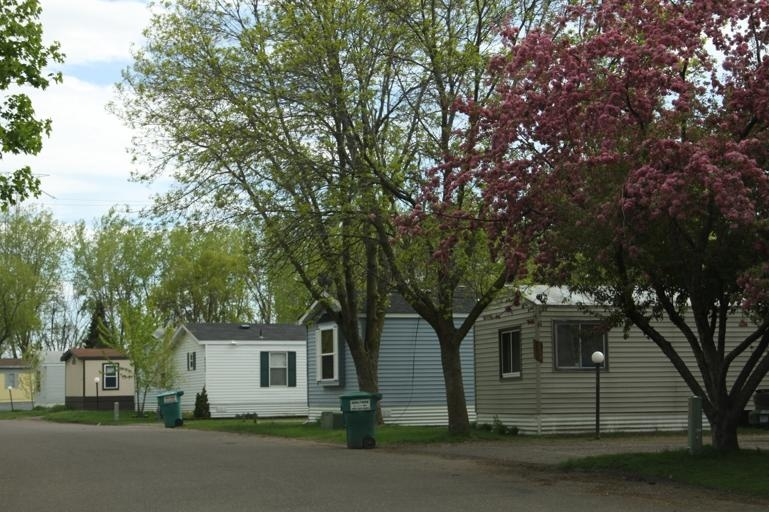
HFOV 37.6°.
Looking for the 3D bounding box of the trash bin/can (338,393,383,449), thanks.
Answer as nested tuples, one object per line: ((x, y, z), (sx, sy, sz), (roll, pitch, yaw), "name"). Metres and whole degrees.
((-0.720, 4.810, 33.145), (1.329, 1.944, 1.415), (1, -5, -7), "trash bin/can")

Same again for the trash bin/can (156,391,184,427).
((-8.794, 6.237, 46.060), (1.402, 1.757, 1.387), (-2, -5, -18), "trash bin/can")
